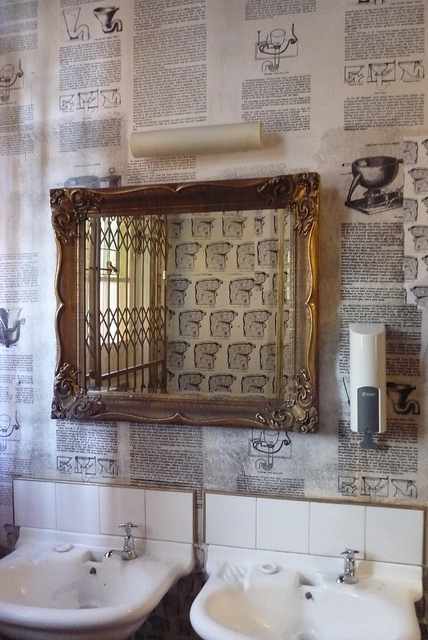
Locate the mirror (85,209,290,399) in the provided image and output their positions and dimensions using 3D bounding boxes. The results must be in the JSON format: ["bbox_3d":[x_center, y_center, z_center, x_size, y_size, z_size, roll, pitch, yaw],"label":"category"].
[{"bbox_3d":[-0.086,-0.042,2.065,0.607,0.519,0.055,1,-3,18],"label":"mirror"}]

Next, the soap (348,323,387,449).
[{"bbox_3d":[0.389,0.161,1.871,0.088,0.315,0.081,2,7,8],"label":"soap"}]

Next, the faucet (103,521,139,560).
[{"bbox_3d":[-0.251,0.622,2.111,0.082,0.110,0.107,-4,11,-33],"label":"faucet"}]
